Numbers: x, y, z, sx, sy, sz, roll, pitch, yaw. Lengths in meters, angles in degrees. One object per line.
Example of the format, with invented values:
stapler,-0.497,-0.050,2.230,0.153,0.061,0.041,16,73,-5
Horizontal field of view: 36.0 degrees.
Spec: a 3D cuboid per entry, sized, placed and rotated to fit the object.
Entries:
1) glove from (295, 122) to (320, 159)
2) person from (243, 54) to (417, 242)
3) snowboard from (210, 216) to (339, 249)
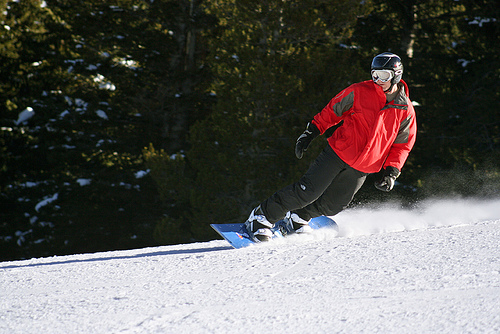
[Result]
glove,0.729,-0.362,9.968,0.483,0.338,0.139,-35,10,-2
person,1.197,-0.128,9.970,2.814,1.415,0.999,-61,1,19
snowboard,0.507,0.785,10.368,2.010,0.523,0.261,-7,-45,-25
